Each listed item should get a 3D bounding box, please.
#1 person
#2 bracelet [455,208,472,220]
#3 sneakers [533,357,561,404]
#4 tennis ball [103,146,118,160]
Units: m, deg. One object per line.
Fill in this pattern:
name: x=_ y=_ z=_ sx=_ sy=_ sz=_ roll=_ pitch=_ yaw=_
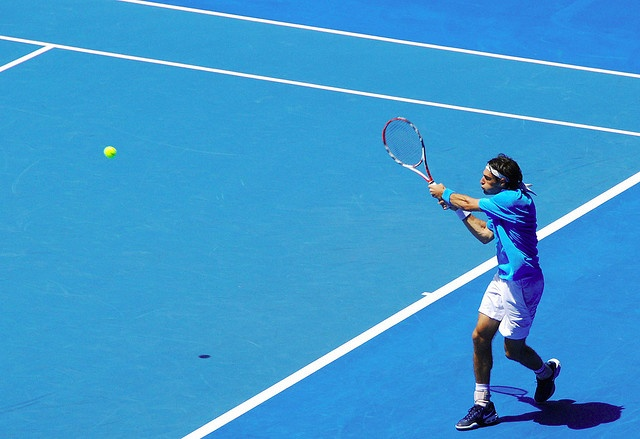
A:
person: x=1.949 y=0.766 z=8.951 sx=1.110 sy=2.690 sz=1.333 roll=-3 pitch=27 yaw=-2
bracelet: x=1.542 y=-0.068 z=9.123 sx=0.122 sy=0.091 sz=0.120 roll=-42 pitch=19 yaw=0
sneakers: x=2.464 y=1.750 z=9.088 sx=0.253 sy=0.506 sz=0.200 roll=-4 pitch=22 yaw=-41
tennis ball: x=-3.076 y=-0.990 z=12.610 sx=0.194 sy=0.173 sz=0.192 roll=-8 pitch=16 yaw=2
